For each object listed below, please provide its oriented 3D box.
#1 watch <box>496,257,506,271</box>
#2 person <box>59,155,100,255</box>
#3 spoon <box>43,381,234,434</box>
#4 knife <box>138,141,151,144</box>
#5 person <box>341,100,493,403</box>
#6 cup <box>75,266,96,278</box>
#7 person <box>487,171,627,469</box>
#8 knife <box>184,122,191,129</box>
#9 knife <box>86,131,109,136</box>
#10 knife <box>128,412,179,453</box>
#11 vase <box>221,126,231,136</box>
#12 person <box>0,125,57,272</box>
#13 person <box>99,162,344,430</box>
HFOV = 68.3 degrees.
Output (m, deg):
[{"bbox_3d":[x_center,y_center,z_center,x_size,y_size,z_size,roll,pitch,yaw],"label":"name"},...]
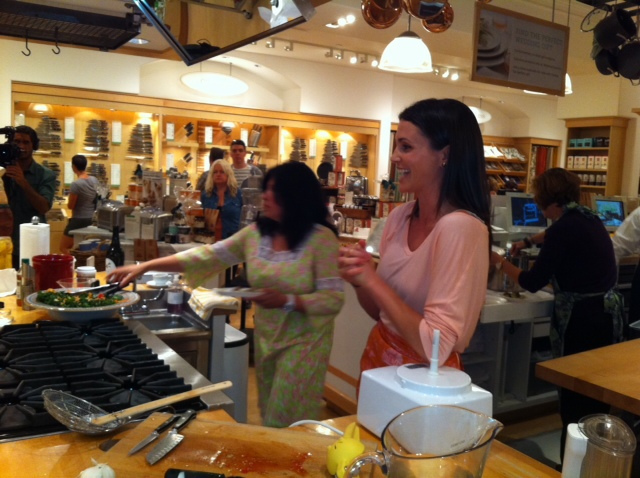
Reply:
[{"bbox_3d":[1.275,0.172,3.304,0.042,0.074,0.074,38,46,3],"label":"watch"},{"bbox_3d":[-3.225,-0.494,6.280,0.448,1.286,0.943,-1,5,-24],"label":"person"},{"bbox_3d":[-0.517,0.455,1.297,0.371,0.068,0.158,-2,7,-25],"label":"spoon"},{"bbox_3d":[-2.847,-1.560,7.656,0.155,0.030,0.018,-1,5,-24],"label":"knife"},{"bbox_3d":[0.347,-0.056,1.595,0.435,0.808,0.469,3,5,19],"label":"person"},{"bbox_3d":[-1.261,0.174,2.514,0.072,0.058,0.069,2,4,0],"label":"cup"},{"bbox_3d":[1.620,0.533,3.202,0.758,1.975,0.910,4,6,32],"label":"person"},{"bbox_3d":[-2.302,-1.949,8.163,0.094,0.135,0.092,0,5,-15],"label":"knife"},{"bbox_3d":[-3.469,-1.624,7.329,0.295,0.081,0.050,-2,5,-31],"label":"knife"},{"bbox_3d":[-0.428,0.489,1.201,0.021,0.010,0.138,14,21,28],"label":"knife"},{"bbox_3d":[-1.669,-1.917,8.385,0.182,0.162,0.151,-1,5,-25],"label":"vase"},{"bbox_3d":[-2.659,-0.376,4.289,0.416,1.249,0.457,-1,5,-28],"label":"person"},{"bbox_3d":[-0.542,0.493,2.402,1.344,1.606,0.606,-3,18,-11],"label":"person"}]
